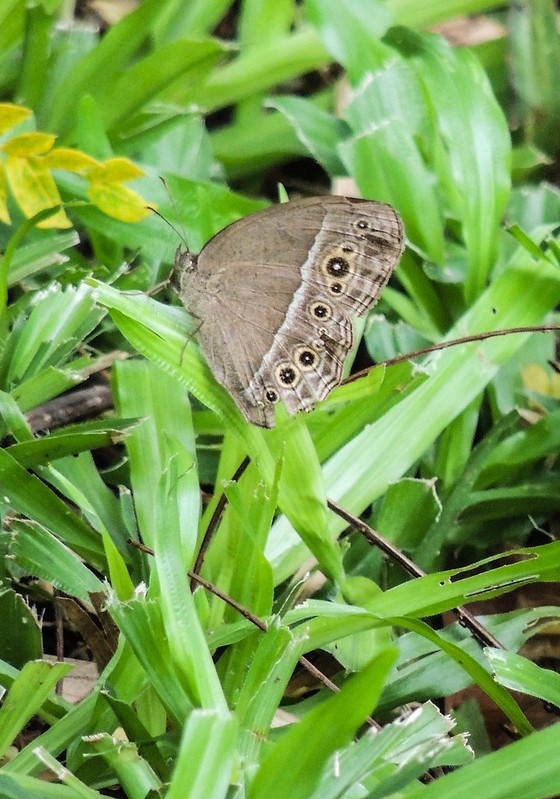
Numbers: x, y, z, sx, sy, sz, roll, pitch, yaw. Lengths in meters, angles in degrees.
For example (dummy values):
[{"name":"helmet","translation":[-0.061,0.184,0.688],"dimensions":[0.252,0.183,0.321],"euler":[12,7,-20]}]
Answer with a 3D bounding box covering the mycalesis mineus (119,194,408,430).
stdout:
[{"name":"mycalesis mineus","translation":[-0.044,-0.095,0.926],"dimensions":[0.260,0.178,0.298],"euler":[33,42,18]}]
